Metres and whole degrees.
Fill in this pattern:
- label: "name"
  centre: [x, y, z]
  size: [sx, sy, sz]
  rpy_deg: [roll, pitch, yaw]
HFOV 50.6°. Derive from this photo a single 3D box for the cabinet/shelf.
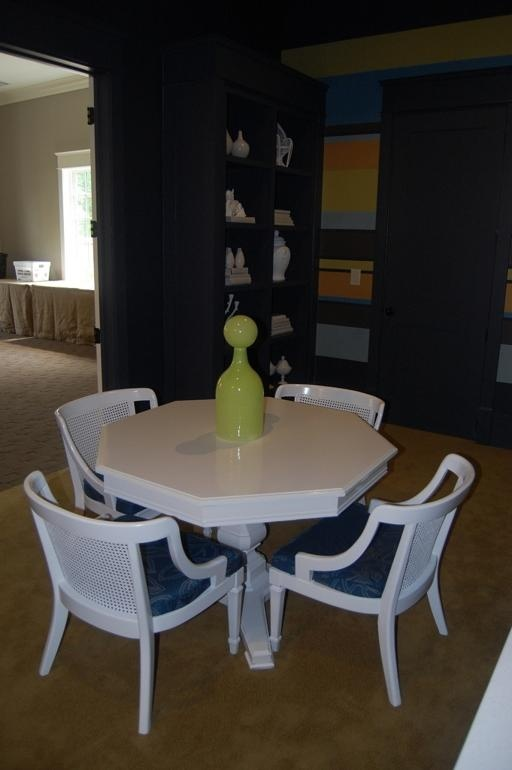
- label: "cabinet/shelf"
  centre: [0.011, -0.857, 3.571]
  size: [0.254, 2.258, 1.032]
  rpy_deg: [15, 18, 42]
